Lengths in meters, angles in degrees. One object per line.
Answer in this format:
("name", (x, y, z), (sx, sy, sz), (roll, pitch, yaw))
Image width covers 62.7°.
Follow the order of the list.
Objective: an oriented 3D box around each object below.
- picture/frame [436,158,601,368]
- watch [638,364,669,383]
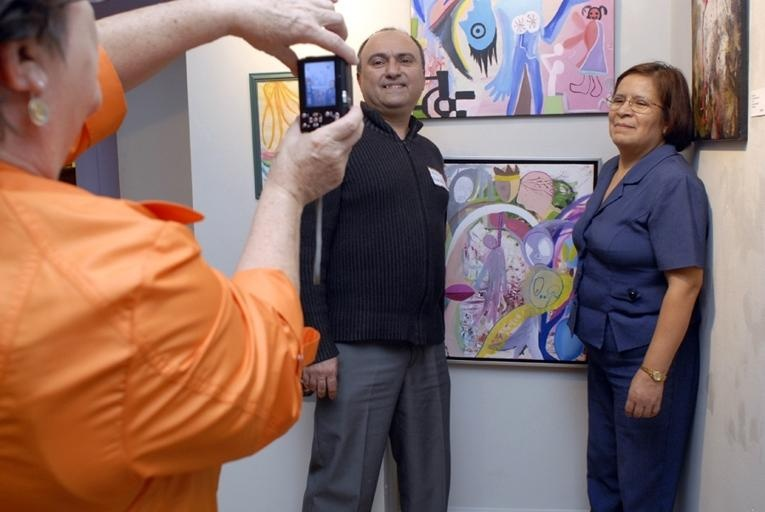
("picture/frame", (0.609, 0.002, 2.706), (0.783, 1.067, 0.066), (0, 2, 2))
("watch", (0.971, 0.425, 2.260), (0.083, 0.060, 0.041), (1, 7, 8))
